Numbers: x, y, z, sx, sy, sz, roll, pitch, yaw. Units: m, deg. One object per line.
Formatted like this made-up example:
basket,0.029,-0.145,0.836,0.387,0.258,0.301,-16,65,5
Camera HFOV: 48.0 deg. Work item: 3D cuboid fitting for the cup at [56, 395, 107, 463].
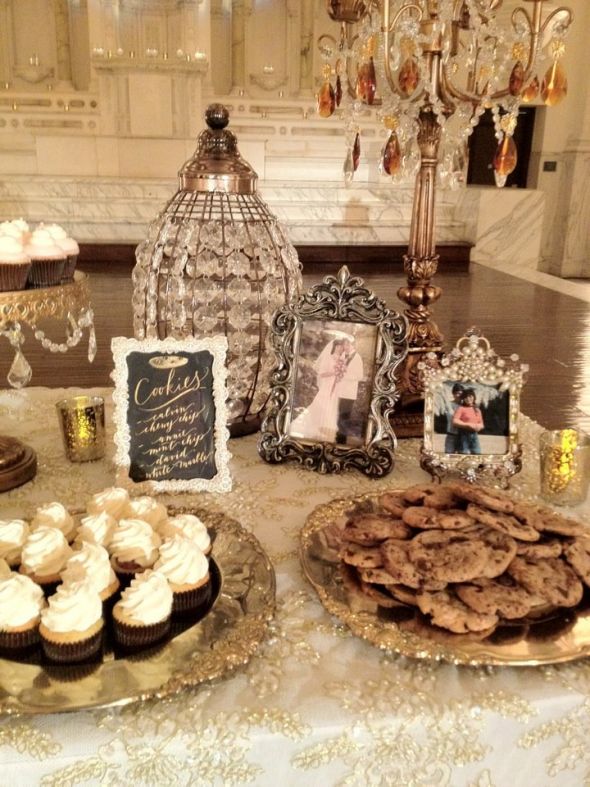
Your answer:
cup,-0.452,0.082,1.383,0.109,0.108,0.102,-5,-1,0

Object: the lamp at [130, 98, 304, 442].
lamp,-0.207,-0.261,1.610,0.481,0.686,0.473,8,7,37
